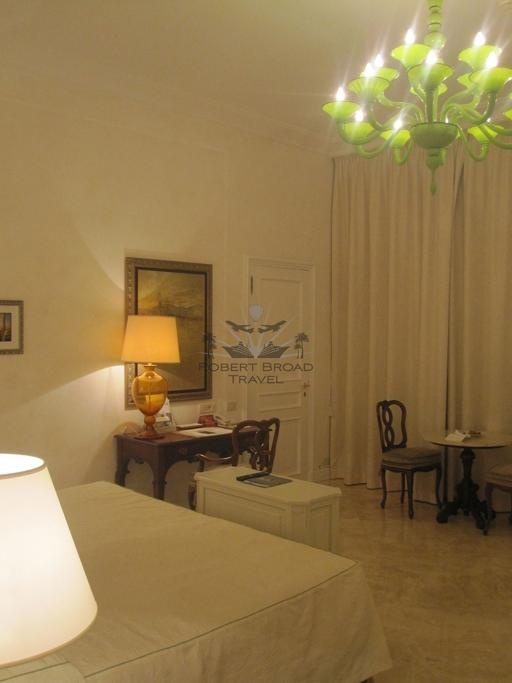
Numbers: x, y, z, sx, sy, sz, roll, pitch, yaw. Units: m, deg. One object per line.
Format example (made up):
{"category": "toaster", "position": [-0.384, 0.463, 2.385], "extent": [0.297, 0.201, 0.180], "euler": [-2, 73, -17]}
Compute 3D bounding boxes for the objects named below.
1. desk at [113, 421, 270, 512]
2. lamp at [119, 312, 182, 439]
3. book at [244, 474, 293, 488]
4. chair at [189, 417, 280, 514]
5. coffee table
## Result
{"category": "desk", "position": [-0.519, 0.991, 4.274], "extent": [0.469, 0.579, 1.162], "euler": [4, -1, 35]}
{"category": "lamp", "position": [-0.760, 0.255, 3.965], "extent": [0.376, 0.870, 0.285], "euler": [-2, 2, -41]}
{"category": "book", "position": [0.055, 0.674, 2.618], "extent": [0.143, 0.022, 0.205], "euler": [-1, -9, -24]}
{"category": "chair", "position": [-0.115, 0.939, 3.895], "extent": [0.530, 0.880, 0.568], "euler": [19, -26, -38]}
{"category": "coffee table", "position": [1.730, 1.162, 4.533], "extent": [0.681, 0.720, 0.745], "euler": [-1, 2, 5]}
